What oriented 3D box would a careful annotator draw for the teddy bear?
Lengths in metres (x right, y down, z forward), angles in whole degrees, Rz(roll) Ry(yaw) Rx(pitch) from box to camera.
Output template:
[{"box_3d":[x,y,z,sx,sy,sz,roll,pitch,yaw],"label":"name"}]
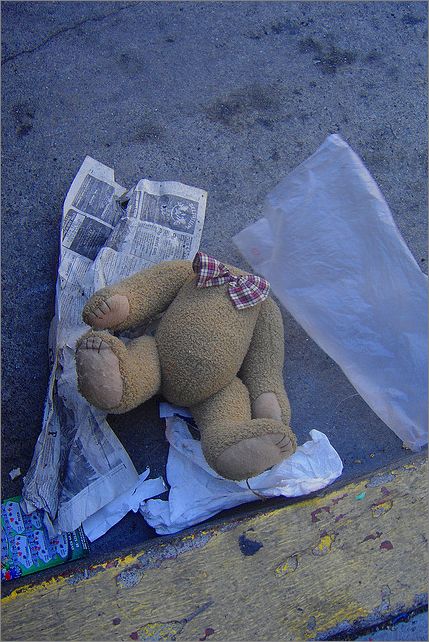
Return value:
[{"box_3d":[-0.052,0.088,1.331,0.423,0.353,0.458,1,52,-2],"label":"teddy bear"}]
